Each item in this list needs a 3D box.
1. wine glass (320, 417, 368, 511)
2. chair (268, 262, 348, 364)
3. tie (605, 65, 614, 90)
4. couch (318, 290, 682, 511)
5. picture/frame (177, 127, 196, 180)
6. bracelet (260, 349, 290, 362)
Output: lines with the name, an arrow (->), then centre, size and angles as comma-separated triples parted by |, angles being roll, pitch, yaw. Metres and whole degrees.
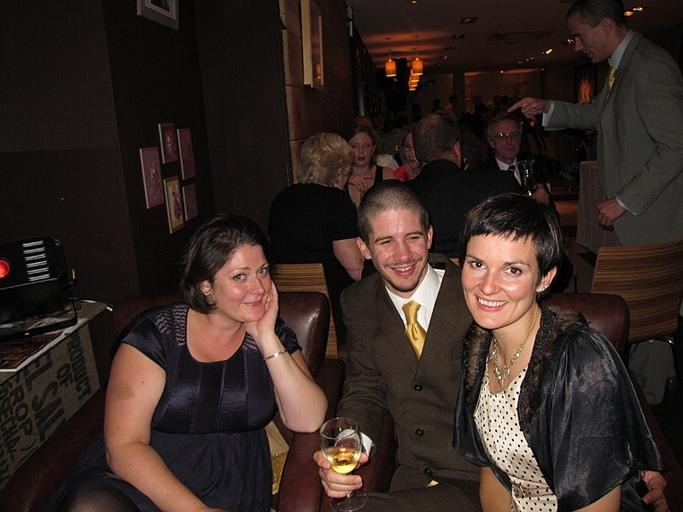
wine glass -> 0.001, 0.783, 1.822 | 0.157, 0.369, 0.167 | -8, 32, 27
chair -> -0.165, 0.336, 3.005 | 0.396, 0.486, 0.677 | -20, 0, -6
tie -> 1.689, -1.117, 3.116 | 0.047, 0.132, 0.093 | 9, 8, 20
couch -> 0.760, 0.669, 2.380 | 0.899, 1.045, 1.010 | -12, -17, 5
picture/frame -> -1.125, -0.733, 3.597 | 0.007, 0.354, 0.331 | -10, 13, -30
bracelet -> -0.275, 0.414, 2.037 | 0.062, 0.023, 0.055 | -34, 2, 9
